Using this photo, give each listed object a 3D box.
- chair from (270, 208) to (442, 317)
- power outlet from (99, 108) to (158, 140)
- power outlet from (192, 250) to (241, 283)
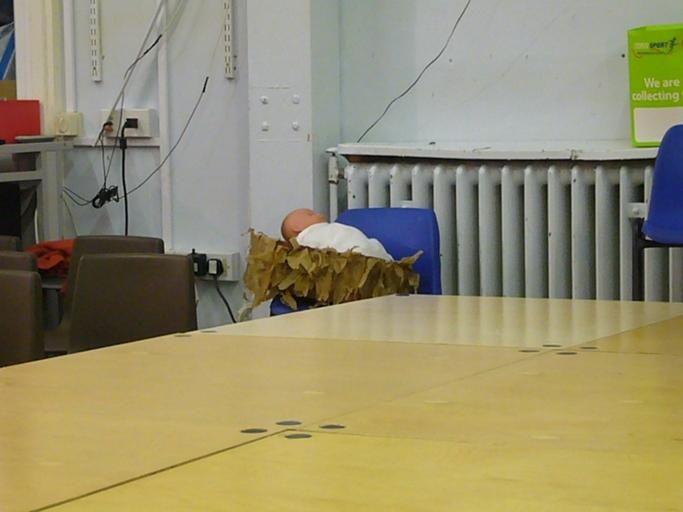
[{"bbox_3d":[0.076,0.061,2.260,0.320,0.488,0.384,0,-8,25],"label":"chair"},{"bbox_3d":[-0.889,-0.549,3.174,0.233,0.122,0.079,5,14,22],"label":"power outlet"},{"bbox_3d":[-0.527,0.049,3.118,0.205,0.127,0.061,2,13,10],"label":"power outlet"}]
